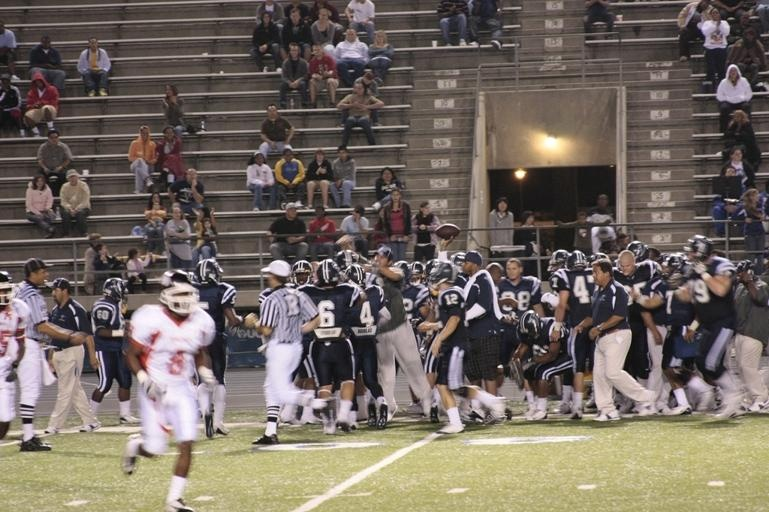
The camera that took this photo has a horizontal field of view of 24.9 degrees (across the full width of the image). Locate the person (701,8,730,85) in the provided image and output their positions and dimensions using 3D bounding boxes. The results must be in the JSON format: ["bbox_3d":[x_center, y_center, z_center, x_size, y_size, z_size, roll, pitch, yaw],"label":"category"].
[{"bbox_3d":[7.940,-4.963,41.829,0.588,1.812,0.360,-4,-4,9],"label":"person"}]

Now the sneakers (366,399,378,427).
[{"bbox_3d":[-0.263,3.057,33.329,0.157,0.456,0.197,1,1,17],"label":"sneakers"}]

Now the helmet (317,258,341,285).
[{"bbox_3d":[-1.056,0.325,32.360,0.374,0.453,0.456,0,0,5],"label":"helmet"}]

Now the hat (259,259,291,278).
[{"bbox_3d":[-2.023,0.255,32.058,0.458,0.221,0.327,5,3,21],"label":"hat"}]

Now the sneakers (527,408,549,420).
[{"bbox_3d":[2.914,3.078,33.427,0.337,0.139,0.180,1,1,-27],"label":"sneakers"}]

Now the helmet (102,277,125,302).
[{"bbox_3d":[-5.261,0.661,34.046,0.370,0.425,0.472,19,24,38],"label":"helmet"}]

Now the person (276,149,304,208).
[{"bbox_3d":[-2.265,-1.824,40.966,0.765,1.344,0.518,-4,-4,9],"label":"person"}]

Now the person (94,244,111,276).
[{"bbox_3d":[-6.421,0.090,39.747,0.356,0.711,0.229,-1,-5,-31],"label":"person"}]

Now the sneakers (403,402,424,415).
[{"bbox_3d":[0.501,3.051,34.348,0.472,0.200,0.159,5,7,24],"label":"sneakers"}]

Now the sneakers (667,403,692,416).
[{"bbox_3d":[5.626,2.974,33.399,0.488,0.209,0.190,-3,6,0],"label":"sneakers"}]

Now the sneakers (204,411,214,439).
[{"bbox_3d":[-3.259,3.183,32.446,0.157,0.467,0.201,0,2,6],"label":"sneakers"}]

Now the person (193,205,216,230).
[{"bbox_3d":[-4.201,-0.850,40.304,0.330,0.454,0.796,-6,23,-25],"label":"person"}]

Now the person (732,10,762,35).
[{"bbox_3d":[8.872,-5.707,42.723,0.686,0.728,0.689,1,6,5],"label":"person"}]

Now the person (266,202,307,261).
[{"bbox_3d":[-2.133,-0.411,38.957,1.068,1.502,0.978,3,5,25],"label":"person"}]

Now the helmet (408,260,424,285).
[{"bbox_3d":[0.632,0.349,34.170,0.303,0.352,0.352,-1,-6,6],"label":"helmet"}]

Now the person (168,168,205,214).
[{"bbox_3d":[-4.574,-1.452,40.734,0.908,1.105,0.806,6,-3,32],"label":"person"}]

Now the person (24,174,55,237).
[{"bbox_3d":[-8.167,-1.140,41.403,0.669,1.488,0.718,-2,-4,-10],"label":"person"}]

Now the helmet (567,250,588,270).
[{"bbox_3d":[3.696,0.093,33.618,0.298,0.321,0.399,3,18,12],"label":"helmet"}]

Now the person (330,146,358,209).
[{"bbox_3d":[-1.003,-1.811,40.967,0.602,1.427,0.495,-3,-4,-3],"label":"person"}]

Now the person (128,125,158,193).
[{"bbox_3d":[-5.852,-2.261,42.057,0.737,1.571,0.658,-4,-4,10],"label":"person"}]

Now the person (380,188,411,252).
[{"bbox_3d":[0.284,-0.440,38.642,0.623,1.909,0.534,-4,1,12],"label":"person"}]

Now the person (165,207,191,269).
[{"bbox_3d":[-4.687,-0.399,39.576,0.624,1.595,0.890,-3,-4,-7],"label":"person"}]

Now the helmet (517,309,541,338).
[{"bbox_3d":[2.795,1.318,33.644,0.385,0.516,0.456,8,-20,40],"label":"helmet"}]

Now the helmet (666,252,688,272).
[{"bbox_3d":[5.531,0.140,33.450,0.319,0.340,0.384,-4,-1,-32],"label":"helmet"}]

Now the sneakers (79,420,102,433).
[{"bbox_3d":[-5.664,3.321,33.488,0.461,0.199,0.166,-3,4,-19],"label":"sneakers"}]

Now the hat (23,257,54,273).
[{"bbox_3d":[-6.521,0.250,32.938,0.486,0.291,0.352,-17,13,-23],"label":"hat"}]

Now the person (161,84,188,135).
[{"bbox_3d":[-5.163,-3.540,43.145,0.518,1.220,0.918,-6,-5,32],"label":"person"}]

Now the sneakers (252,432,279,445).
[{"bbox_3d":[-2.195,3.394,31.985,0.483,0.204,0.242,-3,-4,-6],"label":"sneakers"}]

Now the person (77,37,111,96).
[{"bbox_3d":[-7.393,-4.645,44.353,0.759,1.322,0.456,-2,-4,-10],"label":"person"}]

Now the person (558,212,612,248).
[{"bbox_3d":[4.402,-0.546,38.574,0.966,1.280,0.832,2,0,-4],"label":"person"}]

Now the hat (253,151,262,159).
[{"bbox_3d":[-2.978,-2.356,41.064,0.164,0.158,0.128,-17,-6,39],"label":"hat"}]
